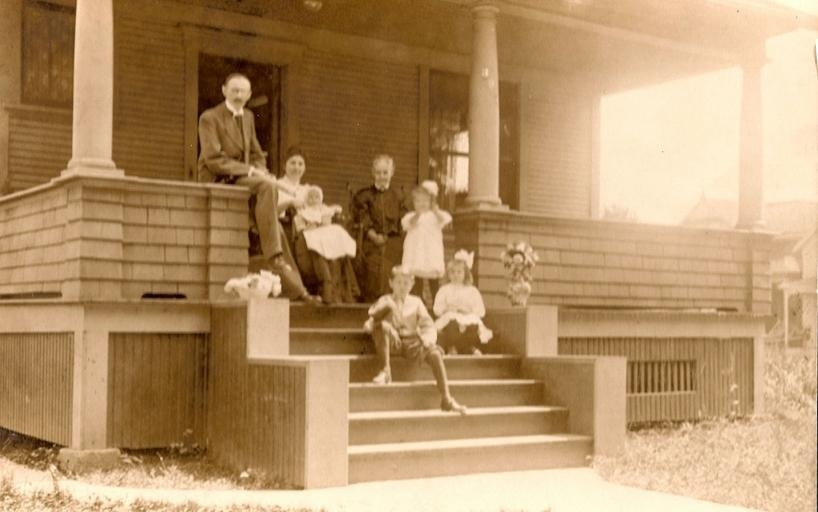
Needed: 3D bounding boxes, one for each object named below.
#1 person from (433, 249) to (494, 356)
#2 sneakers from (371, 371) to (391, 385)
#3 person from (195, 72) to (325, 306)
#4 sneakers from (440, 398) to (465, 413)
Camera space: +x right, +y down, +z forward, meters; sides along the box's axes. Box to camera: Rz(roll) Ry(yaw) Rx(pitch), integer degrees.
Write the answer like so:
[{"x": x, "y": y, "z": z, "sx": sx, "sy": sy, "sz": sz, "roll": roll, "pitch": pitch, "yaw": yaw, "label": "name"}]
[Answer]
[{"x": 0.704, "y": 0.633, "z": 15.317, "sx": 0.838, "sy": 1.494, "sz": 0.874, "roll": 2, "pitch": -4, "yaw": -11, "label": "person"}, {"x": -0.328, "y": 1.582, "z": 14.105, "sx": 0.126, "sy": 0.108, "sz": 0.240, "roll": -6, "pitch": -14, "yaw": 32, "label": "sneakers"}, {"x": -2.130, "y": -0.919, "z": 14.804, "sx": 1.518, "sy": 3.021, "sz": 0.773, "roll": 9, "pitch": 13, "yaw": 35, "label": "person"}, {"x": 0.576, "y": 1.932, "z": 14.057, "sx": 0.280, "sy": 0.187, "sz": 0.159, "roll": 0, "pitch": -3, "yaw": 25, "label": "sneakers"}]
